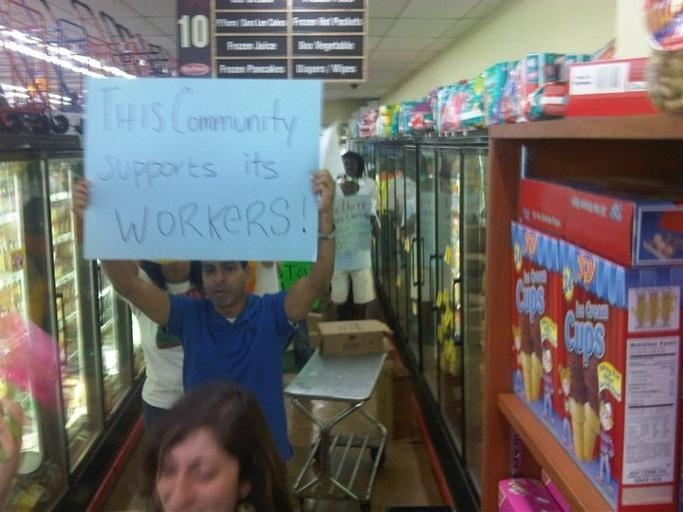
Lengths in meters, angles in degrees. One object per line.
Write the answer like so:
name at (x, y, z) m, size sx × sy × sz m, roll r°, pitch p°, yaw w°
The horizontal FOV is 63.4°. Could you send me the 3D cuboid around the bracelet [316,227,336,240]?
bracelet at (-0.057, -0.090, 2.040) m, size 0.038 × 0.054 × 0.027 m, roll -2°, pitch 4°, yaw 5°
